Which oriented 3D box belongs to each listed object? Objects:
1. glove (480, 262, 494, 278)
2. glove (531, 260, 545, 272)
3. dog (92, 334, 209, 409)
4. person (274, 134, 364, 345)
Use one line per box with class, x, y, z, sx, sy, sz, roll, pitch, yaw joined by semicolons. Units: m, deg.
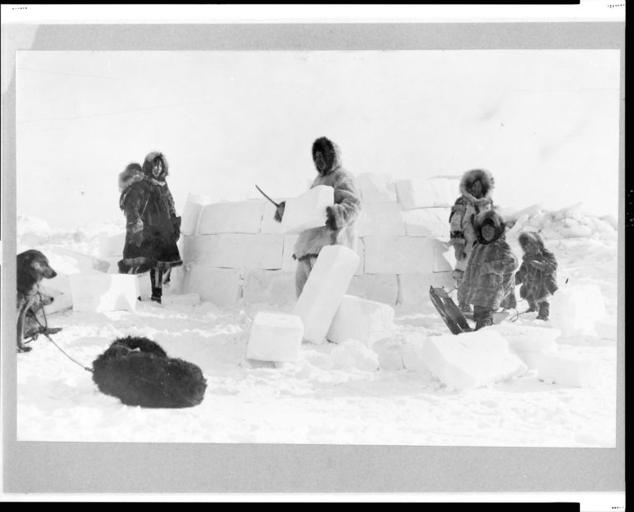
glove;1.202;0.095;6.560;0.080;0.087;0.019;-5;-6;43
glove;1.603;0.074;6.716;0.078;0.060;0.029;36;25;9
dog;-1.126;0.788;6.087;0.563;0.258;0.437;10;-2;25
person;0.030;-0.134;6.669;0.621;1.458;0.452;7;4;35
